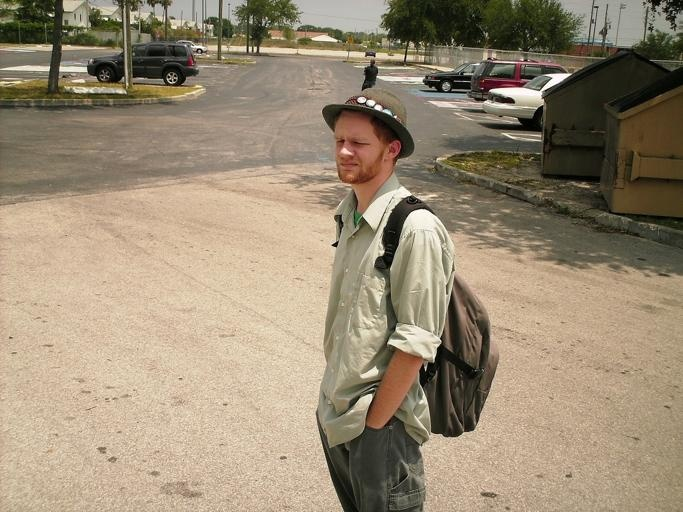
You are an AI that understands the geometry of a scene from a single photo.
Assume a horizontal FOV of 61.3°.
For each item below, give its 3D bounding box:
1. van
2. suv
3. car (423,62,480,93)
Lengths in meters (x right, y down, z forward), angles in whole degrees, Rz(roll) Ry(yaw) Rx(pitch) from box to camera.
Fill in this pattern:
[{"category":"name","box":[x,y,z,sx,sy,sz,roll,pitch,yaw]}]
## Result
[{"category":"van","box":[7.740,-7.830,25.551,3.711,1.521,1.701,-3,24,-2]},{"category":"suv","box":[-9.589,-9.597,28.523,4.536,2.437,1.741,-1,14,-29]},{"category":"car","box":[6.437,-10.703,34.606,3.904,1.293,1.779,1,21,-6]}]
